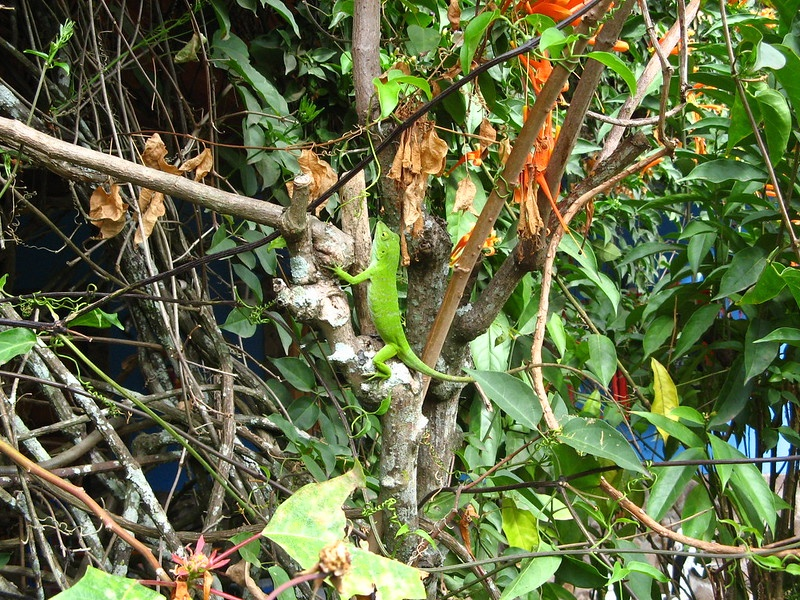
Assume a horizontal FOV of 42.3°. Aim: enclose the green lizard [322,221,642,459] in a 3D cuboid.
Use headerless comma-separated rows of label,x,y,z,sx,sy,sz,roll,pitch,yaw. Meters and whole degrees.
green lizard,0.023,0.043,2.058,0.274,0.152,0.431,-8,62,-56
